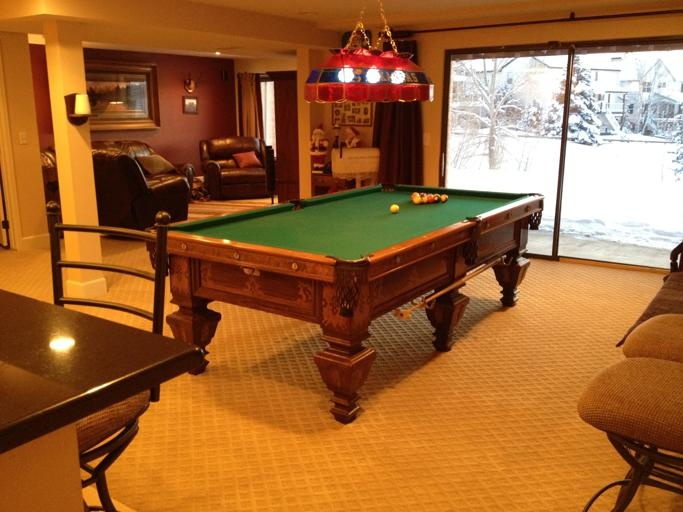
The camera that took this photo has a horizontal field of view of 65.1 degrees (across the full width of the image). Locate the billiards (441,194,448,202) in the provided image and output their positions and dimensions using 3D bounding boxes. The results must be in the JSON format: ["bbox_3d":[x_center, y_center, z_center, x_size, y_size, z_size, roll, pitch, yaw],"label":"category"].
[{"bbox_3d":[0.920,-0.510,4.759,0.053,0.060,0.050,-28,26,19],"label":"billiards"}]

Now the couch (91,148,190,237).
[{"bbox_3d":[-2.609,-0.760,8.034,1.810,1.607,1.787,2,16,-20],"label":"couch"}]

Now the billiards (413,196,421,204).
[{"bbox_3d":[0.649,-0.480,4.579,0.074,0.086,0.090,0,12,4],"label":"billiards"}]

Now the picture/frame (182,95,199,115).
[{"bbox_3d":[-3.113,-3.088,10.959,0.044,0.347,0.443,4,13,31],"label":"picture/frame"}]

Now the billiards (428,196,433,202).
[{"bbox_3d":[0.774,-0.489,4.650,0.049,0.065,0.021,-10,16,-36],"label":"billiards"}]

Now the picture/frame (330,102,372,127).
[{"bbox_3d":[0.153,-1.935,7.344,0.648,0.347,0.122,9,16,39],"label":"picture/frame"}]

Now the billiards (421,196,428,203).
[{"bbox_3d":[0.725,-0.488,4.641,0.046,0.053,0.024,23,-7,36],"label":"billiards"}]

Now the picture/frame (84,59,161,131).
[{"bbox_3d":[-3.978,-2.923,9.798,0.209,1.252,1.487,6,14,30],"label":"picture/frame"}]

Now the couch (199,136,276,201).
[{"bbox_3d":[-1.979,-1.646,10.107,1.914,1.451,1.327,-6,14,-22],"label":"couch"}]
